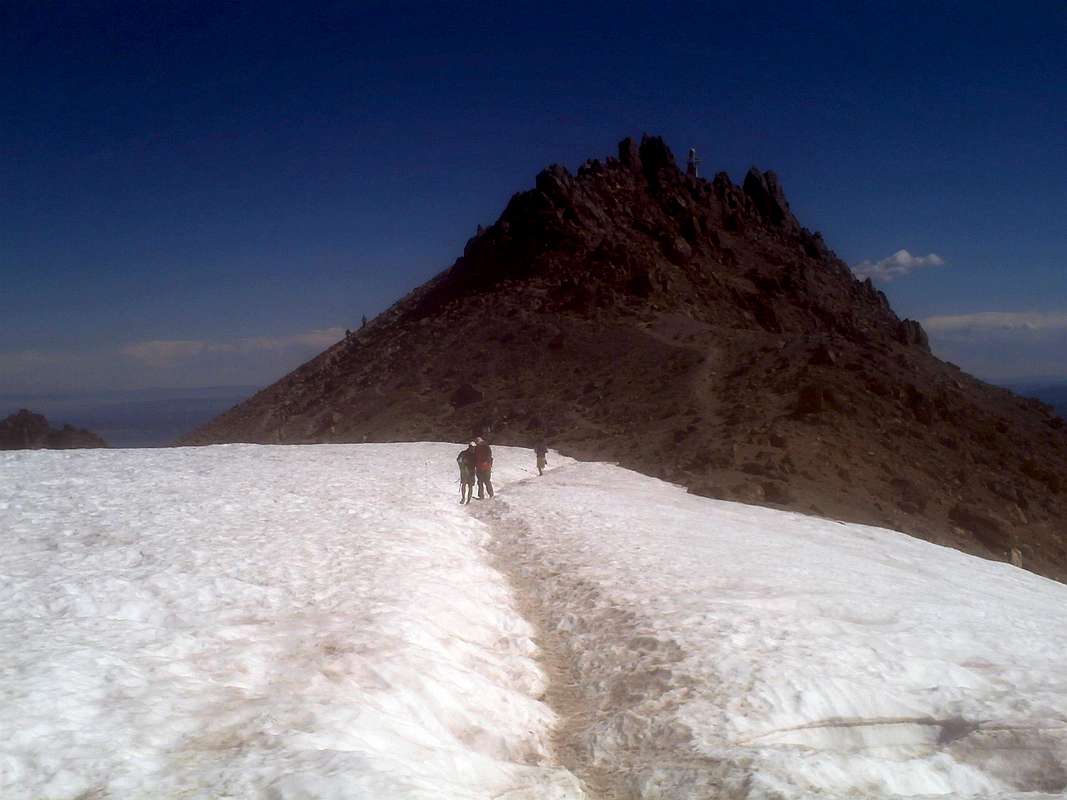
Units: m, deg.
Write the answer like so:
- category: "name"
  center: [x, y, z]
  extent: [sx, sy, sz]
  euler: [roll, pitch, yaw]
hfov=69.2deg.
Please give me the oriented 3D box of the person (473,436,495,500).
- category: "person"
  center: [-1.507, 2.115, 23.545]
  extent: [0.740, 1.906, 1.278]
  euler: [6, 10, -2]
